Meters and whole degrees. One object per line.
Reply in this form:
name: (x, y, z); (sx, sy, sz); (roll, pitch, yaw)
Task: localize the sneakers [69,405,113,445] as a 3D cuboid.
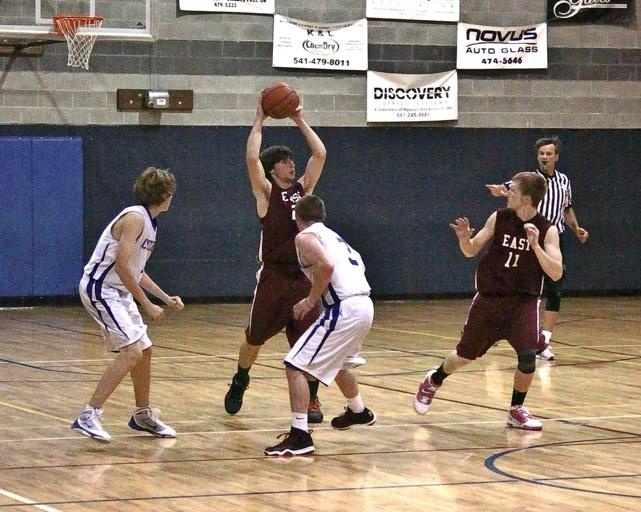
sneakers: (-1.348, 0.981, 4.497); (0.243, 0.167, 0.082); (17, -9, 9)

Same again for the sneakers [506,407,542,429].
sneakers: (1.347, 1.073, 5.070); (0.108, 0.126, 0.247); (1, -3, -34)

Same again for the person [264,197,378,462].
person: (0.017, 0.430, 4.503); (0.513, 1.545, 0.790); (7, 12, 29)

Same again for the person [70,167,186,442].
person: (-1.194, 0.316, 4.617); (0.606, 1.670, 0.559); (-1, 10, -11)

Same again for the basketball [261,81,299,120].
basketball: (-0.283, -1.099, 5.561); (0.263, 0.259, 0.257); (-14, -23, 16)

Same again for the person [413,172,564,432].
person: (1.184, 0.294, 5.129); (0.827, 1.701, 0.486); (5, 11, 21)

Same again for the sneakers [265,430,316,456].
sneakers: (-0.159, 1.082, 4.443); (0.323, 0.194, 0.128); (2, -8, 1)

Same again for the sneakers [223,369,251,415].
sneakers: (-0.588, 0.952, 5.409); (0.128, 0.371, 0.142); (15, 6, 0)
